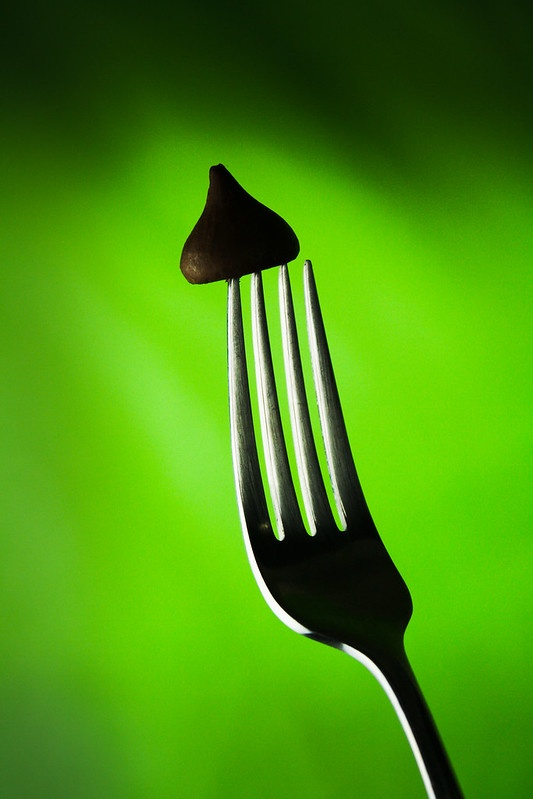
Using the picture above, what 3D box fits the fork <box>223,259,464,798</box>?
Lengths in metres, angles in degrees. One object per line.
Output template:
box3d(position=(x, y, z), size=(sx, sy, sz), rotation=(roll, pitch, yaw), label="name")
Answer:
box3d(position=(0.015, -0.006, 0.485), size=(0.059, 0.442, 0.057), rotation=(3, -33, -33), label="fork")

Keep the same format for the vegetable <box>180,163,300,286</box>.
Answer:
box3d(position=(-0.016, -0.094, 0.473), size=(0.066, 0.050, 0.055), rotation=(23, -49, -12), label="vegetable")
